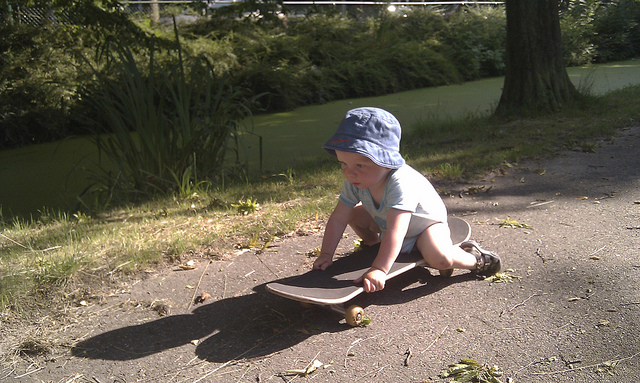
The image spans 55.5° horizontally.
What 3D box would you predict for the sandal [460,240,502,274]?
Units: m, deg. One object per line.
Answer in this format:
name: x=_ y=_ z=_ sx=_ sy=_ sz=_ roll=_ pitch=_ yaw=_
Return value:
sandal: x=1.467 y=0.619 z=5.888 sx=0.506 sy=0.187 sz=0.236 roll=13 pitch=27 yaw=2
